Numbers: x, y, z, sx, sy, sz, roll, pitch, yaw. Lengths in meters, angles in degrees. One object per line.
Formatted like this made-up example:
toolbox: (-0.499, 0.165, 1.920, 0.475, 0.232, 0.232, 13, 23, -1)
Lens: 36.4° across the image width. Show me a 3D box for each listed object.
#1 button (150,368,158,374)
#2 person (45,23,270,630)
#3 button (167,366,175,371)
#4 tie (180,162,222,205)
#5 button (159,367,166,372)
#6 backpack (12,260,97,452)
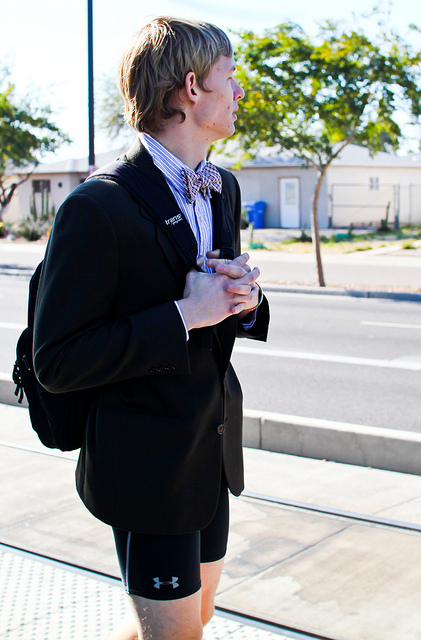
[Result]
button: (-0.113, 0.105, 1.292, 0.009, 0.004, 0.012, 9, -37, -16)
person: (-0.113, 0.085, 1.442, 0.452, 1.469, 0.419, -3, 8, -6)
button: (-0.081, 0.100, 1.293, 0.015, 0.010, 0.003, -2, 8, -3)
tie: (-0.026, -0.317, 1.492, 0.109, 0.078, 0.033, -20, 13, -35)
button: (-0.098, 0.102, 1.291, 0.009, 0.008, 0.003, 4, 4, 1)
backpack: (-0.385, 0.093, 1.538, 0.166, 0.475, 0.336, -4, 8, -19)
